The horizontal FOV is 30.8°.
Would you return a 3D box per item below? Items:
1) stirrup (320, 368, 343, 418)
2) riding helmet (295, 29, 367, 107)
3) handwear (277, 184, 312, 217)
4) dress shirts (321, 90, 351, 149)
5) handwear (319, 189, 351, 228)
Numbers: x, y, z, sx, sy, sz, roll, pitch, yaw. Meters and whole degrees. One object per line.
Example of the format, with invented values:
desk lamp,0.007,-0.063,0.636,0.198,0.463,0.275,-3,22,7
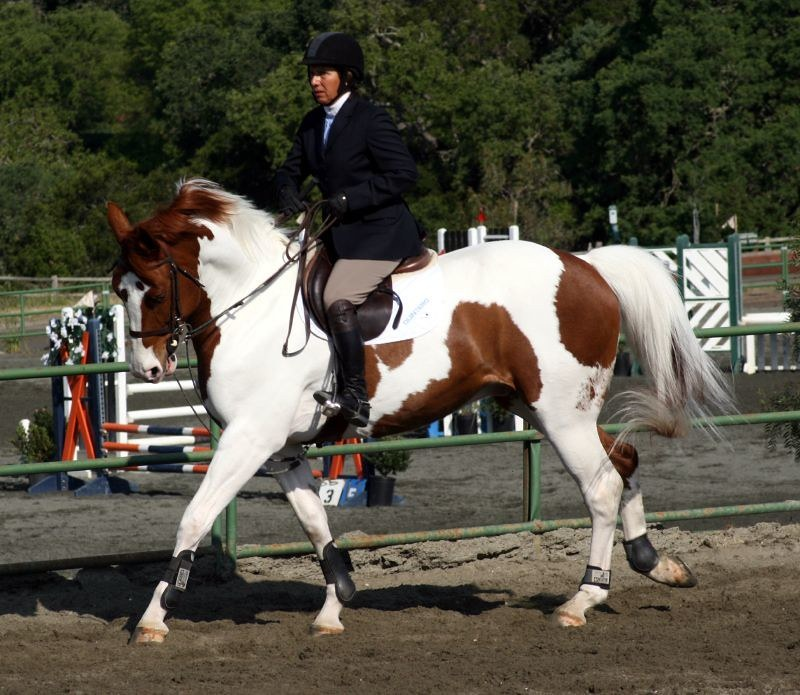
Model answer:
stirrup,-0.455,0.301,9.990,0.194,0.267,0.092,3,-28,19
riding helmet,-0.441,-1.965,10.242,0.427,0.556,0.546,2,1,45
handwear,-0.722,-1.033,10.256,0.191,0.234,0.112,4,3,31
dress shirts,-0.424,-1.599,10.192,0.255,0.330,0.137,6,-20,43
handwear,-0.428,-0.957,10.061,0.174,0.212,0.103,14,22,11
